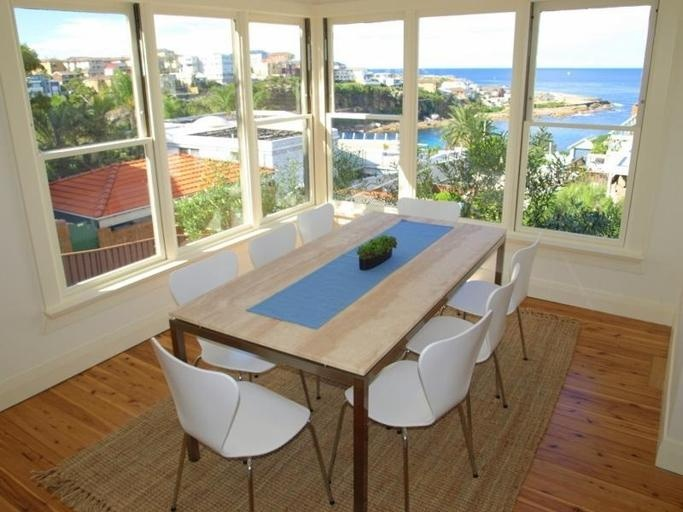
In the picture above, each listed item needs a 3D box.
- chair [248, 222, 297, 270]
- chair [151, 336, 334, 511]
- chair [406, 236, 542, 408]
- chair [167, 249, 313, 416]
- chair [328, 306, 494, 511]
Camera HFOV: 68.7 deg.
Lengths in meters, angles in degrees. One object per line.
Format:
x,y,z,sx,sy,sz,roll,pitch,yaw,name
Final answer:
-0.541,-0.072,3.884,0.274,0.439,0.266,-26,40,-37,chair
-0.524,0.816,2.615,0.592,0.918,0.563,14,26,36,chair
0.877,0.455,3.315,0.636,1.014,0.691,16,37,30,chair
-0.569,0.444,2.926,0.642,1.043,0.583,22,36,33,chair
0.382,0.890,2.816,0.632,1.055,0.584,21,34,38,chair
